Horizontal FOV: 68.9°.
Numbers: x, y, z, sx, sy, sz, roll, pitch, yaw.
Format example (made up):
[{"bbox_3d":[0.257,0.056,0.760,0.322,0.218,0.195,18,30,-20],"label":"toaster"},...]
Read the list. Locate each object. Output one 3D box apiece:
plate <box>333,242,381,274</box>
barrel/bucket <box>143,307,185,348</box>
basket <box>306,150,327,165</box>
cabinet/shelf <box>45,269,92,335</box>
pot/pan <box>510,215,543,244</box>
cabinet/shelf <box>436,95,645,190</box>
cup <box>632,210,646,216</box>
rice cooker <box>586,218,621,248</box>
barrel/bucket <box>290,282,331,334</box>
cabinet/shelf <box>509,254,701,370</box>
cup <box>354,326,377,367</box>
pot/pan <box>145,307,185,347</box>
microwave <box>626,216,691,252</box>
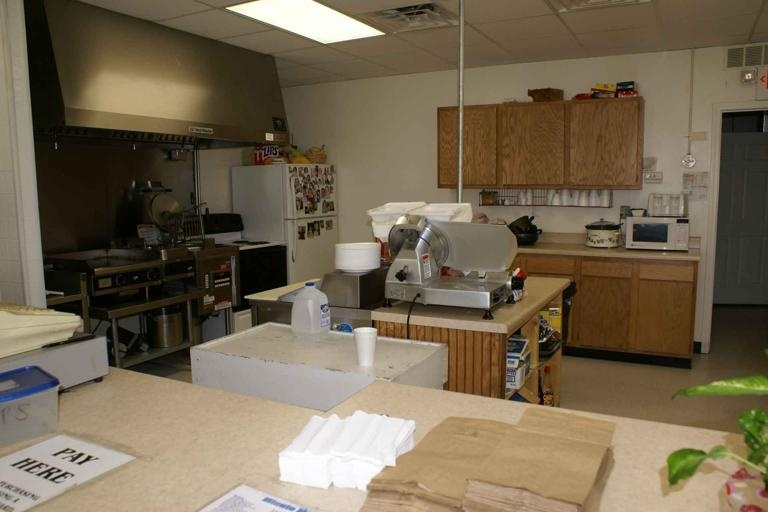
[{"bbox_3d":[-0.143,0.005,3.459,0.206,0.123,0.208,5,8,39],"label":"plate"},{"bbox_3d":[-2.044,0.640,5.360,0.369,0.331,0.387,0,5,0],"label":"barrel/bucket"},{"bbox_3d":[-0.813,-1.254,6.969,0.157,0.190,0.292,7,15,38],"label":"basket"},{"bbox_3d":[-2.504,0.360,4.469,0.290,0.507,0.412,-9,13,-29],"label":"cabinet/shelf"},{"bbox_3d":[1.538,-0.285,6.060,0.269,0.302,0.494,9,16,43],"label":"pot/pan"},{"bbox_3d":[1.640,-1.193,5.915,1.988,0.889,0.315,4,21,29],"label":"cabinet/shelf"},{"bbox_3d":[2.572,-0.441,5.653,0.080,0.062,0.086,0,7,0],"label":"cup"},{"bbox_3d":[2.264,-0.252,5.780,0.300,0.252,0.295,-1,7,5],"label":"rice cooker"},{"bbox_3d":[-0.418,0.293,3.226,0.230,0.268,0.230,1,8,0],"label":"barrel/bucket"},{"bbox_3d":[2.038,0.489,4.976,1.134,0.664,0.360,1,0,23],"label":"cabinet/shelf"},{"bbox_3d":[-0.083,0.450,2.801,0.130,0.148,0.131,0,-8,0],"label":"cup"},{"bbox_3d":[-2.020,0.686,5.422,0.434,0.384,0.405,-2,-6,-24],"label":"pot/pan"},{"bbox_3d":[2.729,-0.247,5.606,0.560,0.320,0.386,3,10,26],"label":"microwave"}]
